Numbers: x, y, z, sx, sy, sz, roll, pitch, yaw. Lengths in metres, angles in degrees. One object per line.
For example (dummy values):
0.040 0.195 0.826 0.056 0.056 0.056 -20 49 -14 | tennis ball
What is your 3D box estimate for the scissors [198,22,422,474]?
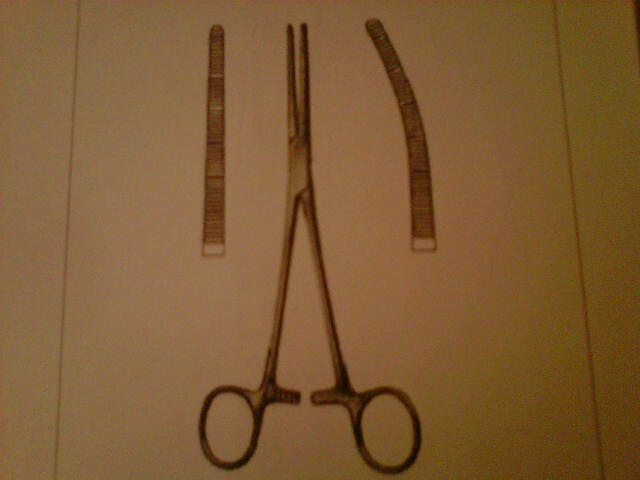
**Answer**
-0.024 0.055 1.503 0.347 0.026 0.810 -1 -96 0 | scissors
